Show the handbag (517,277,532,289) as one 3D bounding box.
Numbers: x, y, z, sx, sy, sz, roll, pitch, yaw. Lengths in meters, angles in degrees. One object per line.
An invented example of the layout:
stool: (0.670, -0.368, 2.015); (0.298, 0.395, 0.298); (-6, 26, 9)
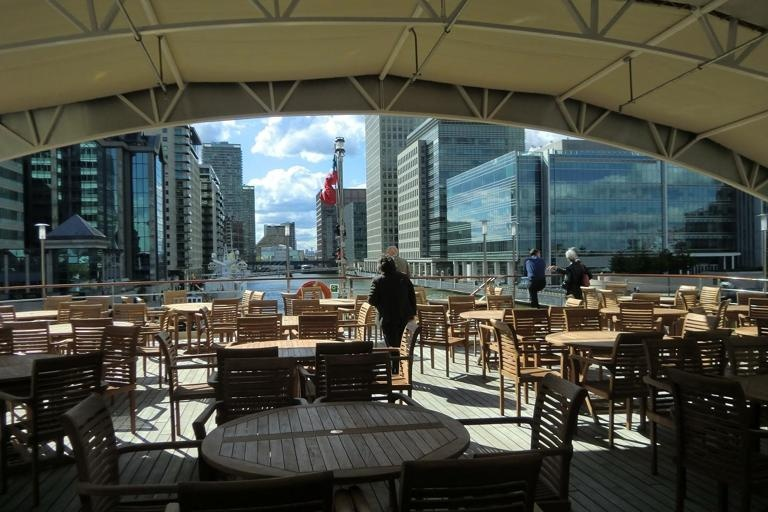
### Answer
handbag: (4.336, 0.811, 18.033); (0.537, 0.373, 0.570); (-5, 5, 7)
